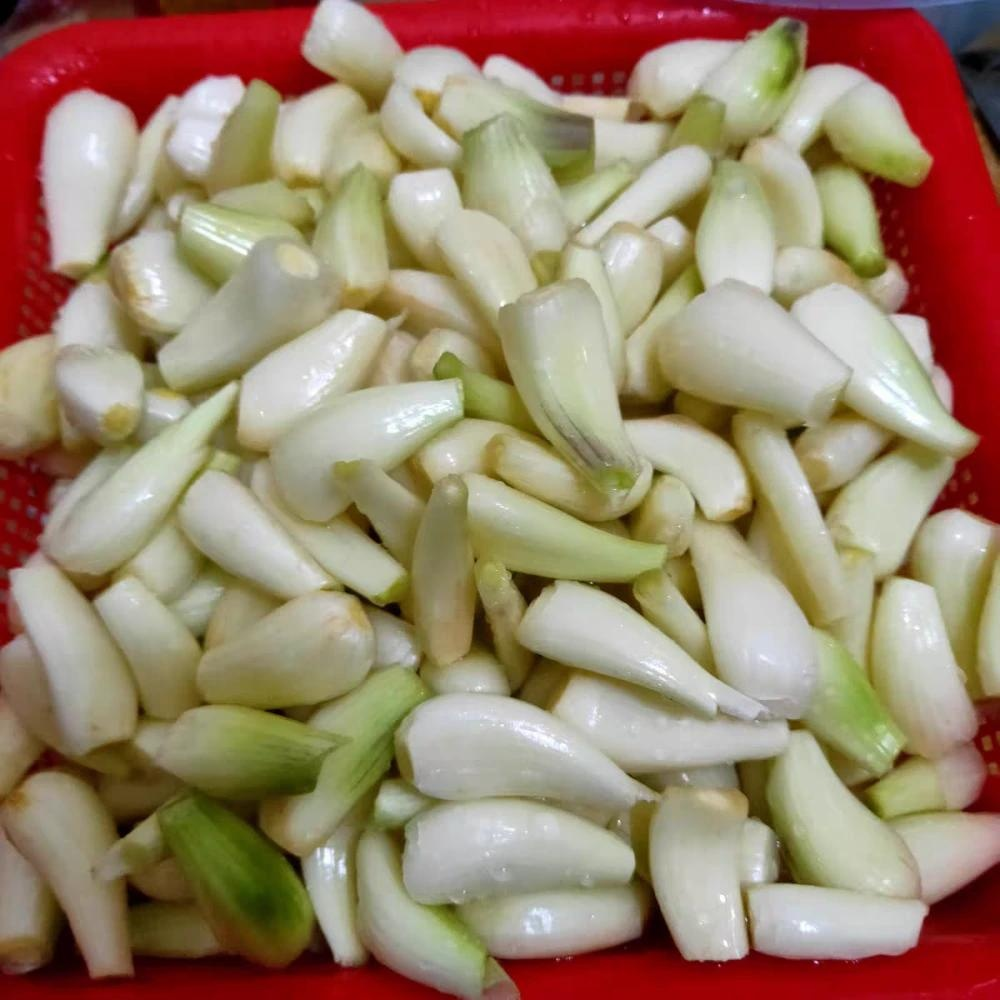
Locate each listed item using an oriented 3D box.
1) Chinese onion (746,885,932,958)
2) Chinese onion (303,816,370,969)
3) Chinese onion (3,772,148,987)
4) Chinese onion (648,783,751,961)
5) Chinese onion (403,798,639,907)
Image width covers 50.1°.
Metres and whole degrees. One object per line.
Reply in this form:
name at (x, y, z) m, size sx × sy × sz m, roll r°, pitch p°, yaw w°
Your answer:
Chinese onion at (0.187, 0.234, 0.596) m, size 0.085 × 0.037 × 0.053 m, roll -4°, pitch 71°, yaw 2°
Chinese onion at (-0.094, 0.227, 0.622) m, size 0.040 × 0.016 × 0.083 m, roll -19°, pitch 85°, yaw -13°
Chinese onion at (-0.261, 0.220, 0.647) m, size 0.058 × 0.033 × 0.144 m, roll -9°, pitch 75°, yaw -14°
Chinese onion at (0.116, 0.202, 0.610) m, size 0.059 × 0.024 × 0.124 m, roll -10°, pitch 100°, yaw 12°
Chinese onion at (0.010, 0.182, 0.596) m, size 0.110 × 0.043 × 0.074 m, roll 1°, pitch 99°, yaw -8°
